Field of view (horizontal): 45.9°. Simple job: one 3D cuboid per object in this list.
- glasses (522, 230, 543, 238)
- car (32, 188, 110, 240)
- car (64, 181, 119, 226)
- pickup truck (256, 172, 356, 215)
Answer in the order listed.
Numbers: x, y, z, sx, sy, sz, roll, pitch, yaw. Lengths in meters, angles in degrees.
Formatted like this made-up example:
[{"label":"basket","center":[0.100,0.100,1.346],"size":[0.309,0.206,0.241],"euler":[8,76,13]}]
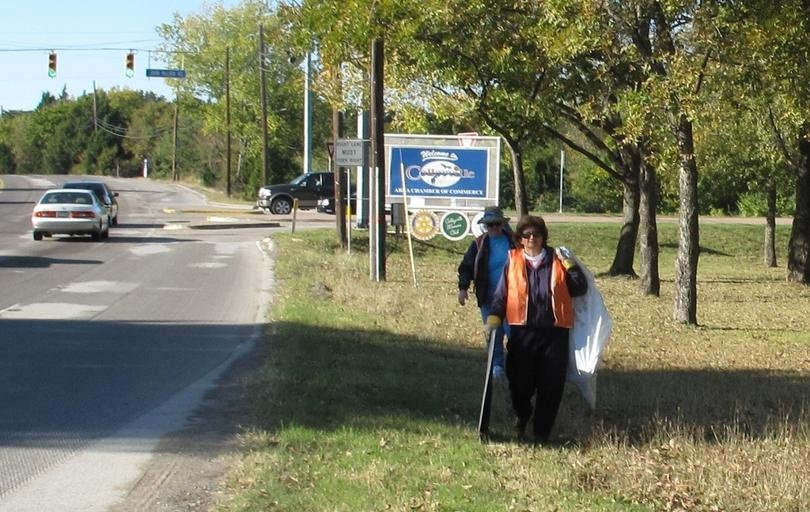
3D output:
[{"label":"glasses","center":[1.789,-0.274,13.474],"size":[0.273,0.118,0.056],"euler":[3,8,-3]},{"label":"car","center":[-10.351,-1.335,30.370],"size":[1.242,0.833,2.669],"euler":[-1,8,-5]},{"label":"car","center":[-11.949,-2.110,37.157],"size":[1.665,1.326,3.796],"euler":[-1,7,-3]},{"label":"pickup truck","center":[-4.864,-3.230,44.356],"size":[5.150,2.258,2.387],"euler":[0,2,-8]}]
